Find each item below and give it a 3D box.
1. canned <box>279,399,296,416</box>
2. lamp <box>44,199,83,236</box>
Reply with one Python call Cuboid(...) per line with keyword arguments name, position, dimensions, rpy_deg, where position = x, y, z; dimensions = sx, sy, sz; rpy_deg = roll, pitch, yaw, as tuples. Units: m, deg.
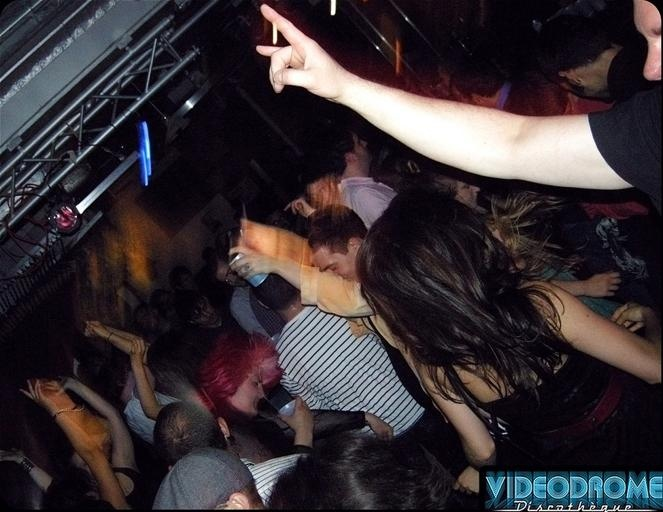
Cuboid(name="canned", position=(-0.270, 0.957, 3.769), dimensions=(0.091, 0.094, 0.069), rpy_deg=(17, 31, -47))
Cuboid(name="lamp", position=(-1.714, -0.259, 3.925), dimensions=(0.201, 0.233, 0.235), rpy_deg=(-4, 7, -20))
